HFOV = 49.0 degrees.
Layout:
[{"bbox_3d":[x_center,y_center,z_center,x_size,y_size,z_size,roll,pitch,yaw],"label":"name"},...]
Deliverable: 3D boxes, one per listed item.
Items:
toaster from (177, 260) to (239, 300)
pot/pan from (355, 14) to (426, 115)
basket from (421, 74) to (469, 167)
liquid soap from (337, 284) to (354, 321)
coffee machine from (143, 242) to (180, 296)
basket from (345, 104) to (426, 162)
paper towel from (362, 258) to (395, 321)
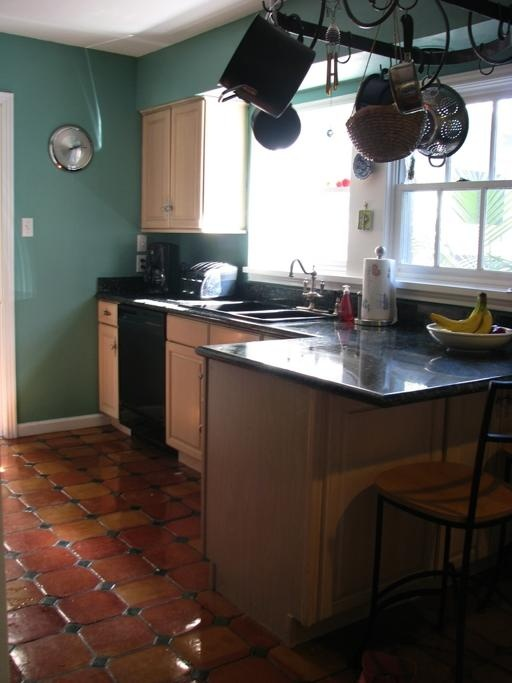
[{"bbox_3d":[-0.289,-0.393,3.527,0.272,0.188,0.268,-8,13,-37],"label":"toaster"},{"bbox_3d":[0.341,-0.678,1.404,0.074,0.233,0.101,-8,-9,3],"label":"pot/pan"},{"bbox_3d":[0.640,-0.759,1.941,0.164,0.232,0.224,1,6,15],"label":"basket"},{"bbox_3d":[0.440,-0.186,2.775,0.077,0.173,0.339,0,6,9],"label":"liquid soap"},{"bbox_3d":[-0.652,-0.502,3.914,0.243,0.357,0.318,-1,6,-10],"label":"coffee machine"},{"bbox_3d":[0.367,-0.586,1.646,0.170,0.111,0.186,3,1,-7],"label":"basket"},{"bbox_3d":[0.554,-0.219,2.523,0.175,0.294,0.130,-1,6,-1],"label":"paper towel"}]
